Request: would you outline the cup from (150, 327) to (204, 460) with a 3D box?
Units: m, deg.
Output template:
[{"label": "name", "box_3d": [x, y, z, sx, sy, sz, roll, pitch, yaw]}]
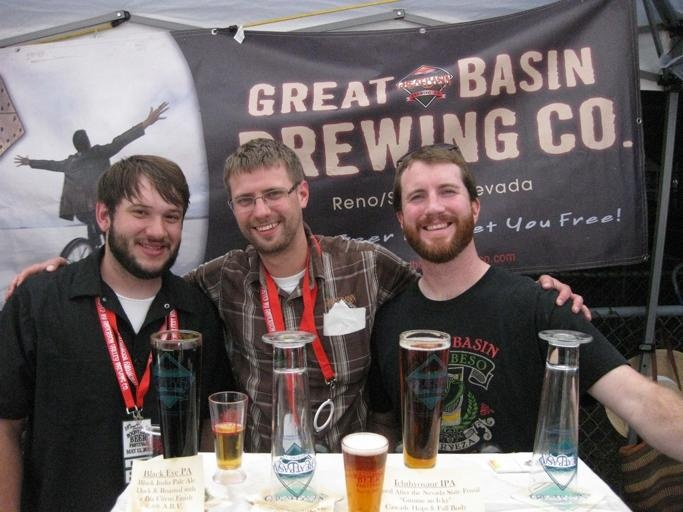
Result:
[{"label": "cup", "box_3d": [-0.569, 0.535, 1.988, 0.167, 0.541, 0.165, -1, 5, 0]}]

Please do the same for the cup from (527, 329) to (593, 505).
[{"label": "cup", "box_3d": [0.753, 0.550, 1.958, 0.211, 0.574, 0.162, -3, 7, 8]}]

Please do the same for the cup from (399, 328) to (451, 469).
[{"label": "cup", "box_3d": [0.301, 0.507, 1.965, 0.183, 0.478, 0.164, -4, 7, 4]}]

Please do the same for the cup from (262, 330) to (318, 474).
[{"label": "cup", "box_3d": [-0.170, 0.501, 1.936, 0.186, 0.474, 0.168, -2, 7, 14]}]
